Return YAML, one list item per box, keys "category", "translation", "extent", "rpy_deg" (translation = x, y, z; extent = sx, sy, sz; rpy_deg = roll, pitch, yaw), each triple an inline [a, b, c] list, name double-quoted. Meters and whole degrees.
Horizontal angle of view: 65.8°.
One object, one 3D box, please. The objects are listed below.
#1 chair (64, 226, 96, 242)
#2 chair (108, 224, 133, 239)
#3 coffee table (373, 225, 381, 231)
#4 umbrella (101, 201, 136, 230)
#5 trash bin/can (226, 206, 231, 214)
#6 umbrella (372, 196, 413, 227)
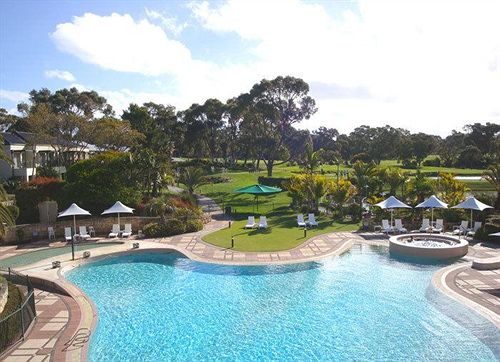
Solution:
- category: "chair"
  translation: [-15.097, 4.604, 33.618]
  extent: [1.227, 1.384, 2.532]
  rpy_deg: [2, -5, -42]
- category: "chair"
  translation: [-11.433, 4.538, 34.398]
  extent: [1.284, 0.830, 1.385]
  rpy_deg: [-1, -3, -10]
- category: "coffee table"
  translation: [11.529, 4.336, 35.324]
  extent: [0.452, 0.381, 0.485]
  rpy_deg: [-1, 0, 1]
- category: "umbrella"
  translation: [-11.522, 2.982, 33.969]
  extent: [2.577, 2.606, 2.360]
  rpy_deg: [-1, 8, -26]
- category: "trash bin/can"
  translation: [-2.500, 3.366, 44.408]
  extent: [0.697, 0.875, 0.749]
  rpy_deg: [0, -6, -2]
- category: "umbrella"
  translation: [12.540, 2.548, 34.446]
  extent: [2.245, 2.569, 2.408]
  rpy_deg: [-5, 12, -5]
